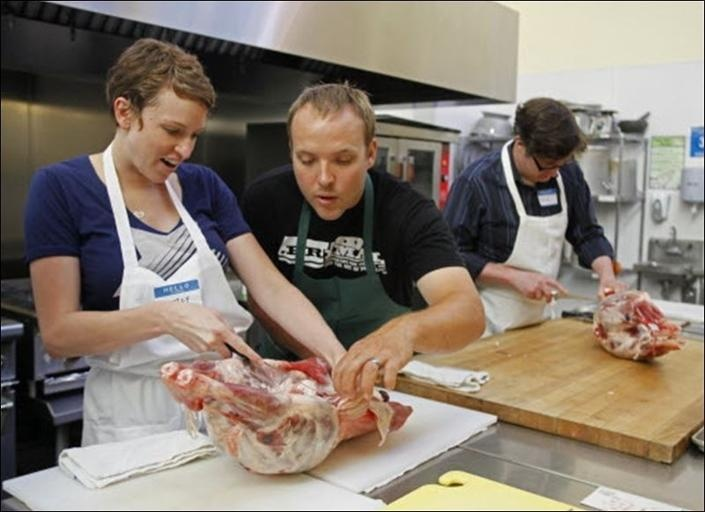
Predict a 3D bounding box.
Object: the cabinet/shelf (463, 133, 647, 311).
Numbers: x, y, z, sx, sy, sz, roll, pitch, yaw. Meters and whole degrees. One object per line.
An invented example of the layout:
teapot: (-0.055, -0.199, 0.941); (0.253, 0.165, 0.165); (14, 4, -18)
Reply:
cabinet/shelf: (0.983, -0.278, 2.915); (0.862, 1.073, 0.785); (-11, 11, -29)

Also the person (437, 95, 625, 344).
person: (1.003, 0.085, 2.811); (0.961, 1.772, 0.739); (4, 20, 28)

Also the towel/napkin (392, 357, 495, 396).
towel/napkin: (0.307, 0.409, 1.796); (0.194, 0.033, 0.150); (2, 7, 30)

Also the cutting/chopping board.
cutting/chopping board: (0.818, 0.432, 2.005); (0.888, 0.063, 1.063); (9, 13, 32)

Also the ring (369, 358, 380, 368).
ring: (0.057, 0.263, 1.300); (0.019, 0.006, 0.019); (14, 16, -4)

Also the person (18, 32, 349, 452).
person: (-0.525, -0.022, 1.569); (0.689, 1.244, 0.635); (9, 13, 33)

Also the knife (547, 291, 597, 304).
knife: (1.203, 0.225, 2.858); (0.226, 0.047, 0.064); (5, 35, -1)
